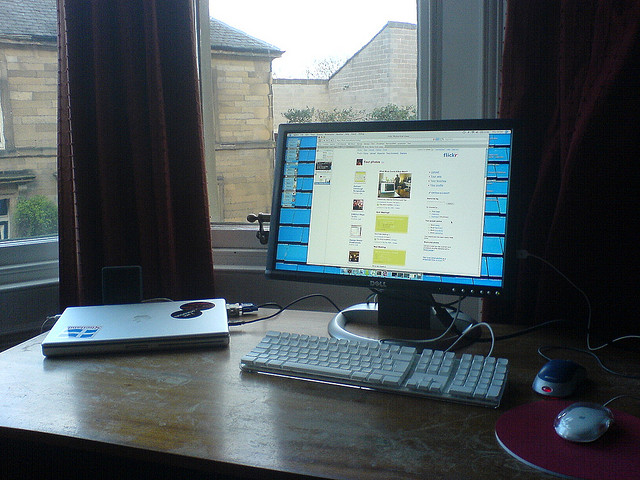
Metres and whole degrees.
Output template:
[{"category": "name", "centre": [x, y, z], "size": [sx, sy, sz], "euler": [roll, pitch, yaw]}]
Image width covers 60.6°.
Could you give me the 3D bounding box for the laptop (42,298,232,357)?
[{"category": "laptop", "centre": [-0.436, 0.217, 1.369], "size": [0.425, 0.064, 0.207], "euler": [-2, 11, -9]}]

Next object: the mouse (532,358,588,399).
[{"category": "mouse", "centre": [0.509, 0.278, 1.148], "size": [0.149, 0.054, 0.081], "euler": [-15, 12, -39]}]

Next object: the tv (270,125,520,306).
[{"category": "tv", "centre": [0.192, -0.072, 1.337], "size": [0.434, 0.306, 0.054], "euler": [4, 0, 23]}]
